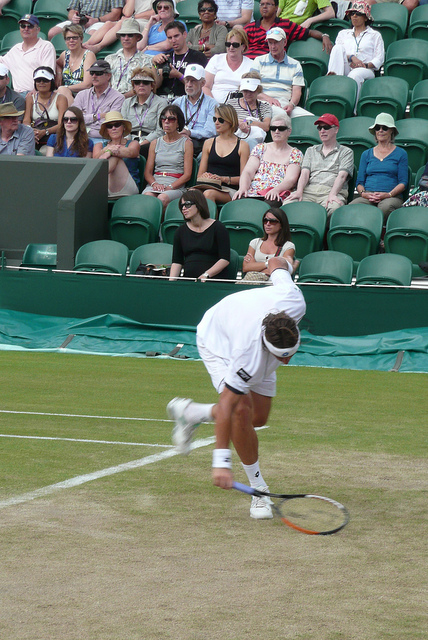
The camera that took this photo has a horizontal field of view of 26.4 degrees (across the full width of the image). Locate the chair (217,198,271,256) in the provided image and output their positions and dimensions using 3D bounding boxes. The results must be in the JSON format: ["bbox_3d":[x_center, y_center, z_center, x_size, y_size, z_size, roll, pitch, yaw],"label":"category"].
[{"bbox_3d":[0.249,-1.004,9.643,0.576,0.483,0.424,11,21,1],"label":"chair"}]

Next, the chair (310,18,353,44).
[{"bbox_3d":[1.704,-4.249,13.295,0.447,0.452,0.503,-1,-5,12],"label":"chair"}]

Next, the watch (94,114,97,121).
[{"bbox_3d":[-1.489,-2.548,11.499,0.062,0.068,0.067,8,21,6],"label":"watch"}]

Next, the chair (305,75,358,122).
[{"bbox_3d":[1.490,-2.885,11.815,0.608,0.670,0.599,4,6,17],"label":"chair"}]

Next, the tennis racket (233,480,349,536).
[{"bbox_3d":[0.338,0.703,3.643,0.197,0.030,0.478,-12,20,-41],"label":"tennis racket"}]

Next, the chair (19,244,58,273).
[{"bbox_3d":[-1.878,-0.704,10.132,0.495,0.268,0.345,6,7,41],"label":"chair"}]

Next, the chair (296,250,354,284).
[{"bbox_3d":[1.069,-0.510,8.755,0.473,0.300,0.393,2,-6,10],"label":"chair"}]

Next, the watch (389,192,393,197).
[{"bbox_3d":[1.855,-1.327,9.663,0.016,0.049,0.056,-8,-3,-26],"label":"watch"}]

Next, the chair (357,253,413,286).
[{"bbox_3d":[1.602,-0.482,8.645,0.493,0.292,0.398,2,5,8],"label":"chair"}]

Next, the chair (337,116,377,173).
[{"bbox_3d":[1.676,-2.125,10.884,0.448,0.675,0.754,2,5,6],"label":"chair"}]

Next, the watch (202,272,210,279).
[{"bbox_3d":[-0.079,-0.422,8.680,0.050,0.056,0.016,-2,0,13],"label":"watch"}]

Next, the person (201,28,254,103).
[{"bbox_3d":[0.233,-3.254,11.889,0.840,1.006,0.640,-4,28,-11],"label":"person"}]

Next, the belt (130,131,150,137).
[{"bbox_3d":[-0.923,-2.312,11.337,0.121,0.040,0.117,1,1,10],"label":"belt"}]

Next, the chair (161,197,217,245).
[{"bbox_3d":[-0.329,-1.058,9.938,0.626,0.669,0.585,1,6,11],"label":"chair"}]

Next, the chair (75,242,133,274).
[{"bbox_3d":[-1.135,-0.654,9.554,0.466,0.508,0.421,3,3,3],"label":"chair"}]

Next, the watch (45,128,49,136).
[{"bbox_3d":[-2.107,-2.382,11.562,0.030,0.098,0.079,-13,46,10],"label":"watch"}]

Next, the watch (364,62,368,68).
[{"bbox_3d":[2.044,-3.446,12.341,0.036,0.062,0.064,3,6,13],"label":"watch"}]

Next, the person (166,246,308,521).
[{"bbox_3d":[0.168,0.269,4.057,0.654,1.263,0.940,-2,34,-6],"label":"person"}]

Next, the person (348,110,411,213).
[{"bbox_3d":[1.788,-1.664,9.731,0.524,1.052,0.597,3,6,6],"label":"person"}]

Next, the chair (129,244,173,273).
[{"bbox_3d":[-0.630,-0.663,9.576,0.366,0.377,0.348,1,12,1],"label":"chair"}]

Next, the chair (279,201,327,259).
[{"bbox_3d":[0.867,-0.920,9.436,0.488,0.535,0.506,6,10,14],"label":"chair"}]

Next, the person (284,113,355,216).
[{"bbox_3d":[1.137,-1.687,9.929,0.709,1.089,0.664,3,6,7],"label":"person"}]

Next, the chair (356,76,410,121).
[{"bbox_3d":[2.100,-2.832,11.585,0.666,0.546,0.732,3,7,11],"label":"chair"}]

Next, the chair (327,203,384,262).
[{"bbox_3d":[1.398,-0.865,9.305,0.544,0.522,0.513,7,24,29],"label":"chair"}]

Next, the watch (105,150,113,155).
[{"bbox_3d":[-1.201,-1.920,10.445,0.059,0.015,0.058,29,-5,-22],"label":"watch"}]

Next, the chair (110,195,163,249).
[{"bbox_3d":[-0.865,-1.056,10.148,0.557,0.585,0.404,7,27,15],"label":"chair"}]

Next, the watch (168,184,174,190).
[{"bbox_3d":[-0.487,-1.513,10.417,0.033,0.048,0.052,-36,69,-30],"label":"watch"}]
